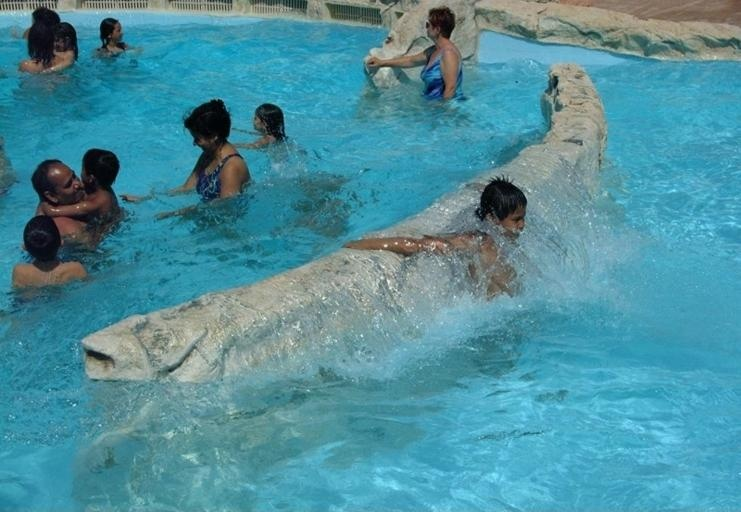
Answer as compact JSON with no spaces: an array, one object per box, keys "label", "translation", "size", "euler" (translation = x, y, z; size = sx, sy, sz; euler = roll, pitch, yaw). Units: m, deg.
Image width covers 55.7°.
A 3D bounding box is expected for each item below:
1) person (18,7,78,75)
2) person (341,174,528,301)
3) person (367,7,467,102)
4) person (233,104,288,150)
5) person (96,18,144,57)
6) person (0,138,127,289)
[{"label":"person","translation":[-4.847,-3.117,10.446],"size":[0.818,0.671,0.427],"euler":[-14,38,-29]},{"label":"person","translation":[0.830,-0.214,6.701],"size":[1.415,0.945,0.703],"euler":[5,33,-2]},{"label":"person","translation":[0.825,-3.044,10.475],"size":[0.605,1.281,1.323],"euler":[-20,41,-35]},{"label":"person","translation":[-1.295,-1.571,8.776],"size":[0.740,0.477,0.457],"euler":[12,48,6]},{"label":"person","translation":[-4.084,-3.523,11.309],"size":[0.584,0.525,0.713],"euler":[3,25,-11]},{"label":"person","translation":[-3.078,-0.389,7.029],"size":[0.769,0.949,1.397],"euler":[8,32,2]}]
